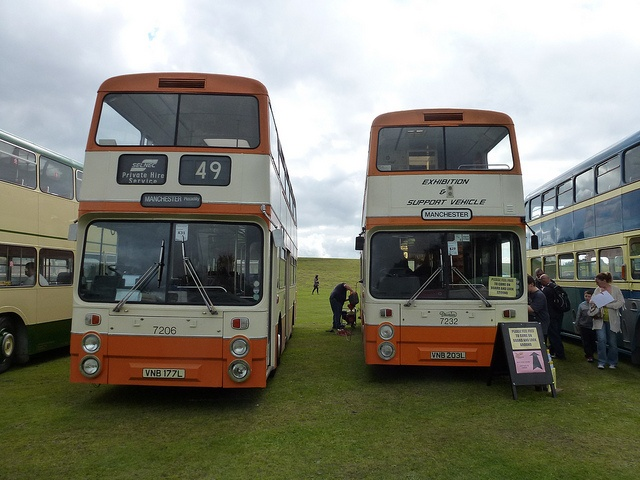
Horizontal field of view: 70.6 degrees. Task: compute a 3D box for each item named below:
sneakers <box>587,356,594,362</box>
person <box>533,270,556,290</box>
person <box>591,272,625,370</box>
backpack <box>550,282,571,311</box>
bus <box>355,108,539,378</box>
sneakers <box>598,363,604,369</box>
[{"bbox_3d":[7.047,3.129,11.807,0.073,0.103,0.234,3,4,12],"label":"sneakers"},{"bbox_3d":[6.314,1.100,12.968,0.609,0.437,0.809,5,-20,2],"label":"person"},{"bbox_3d":[6.952,1.993,10.959,1.022,2.370,0.658,0,1,-34],"label":"person"},{"bbox_3d":[6.451,1.569,12.224,0.470,0.797,0.247,1,1,32],"label":"backpack"},{"bbox_3d":[2.450,-0.106,9.118,3.028,5.135,0.777,0,1,-1],"label":"bus"},{"bbox_3d":[6.910,3.095,11.075,0.201,0.151,0.069,-3,-4,12],"label":"sneakers"}]
